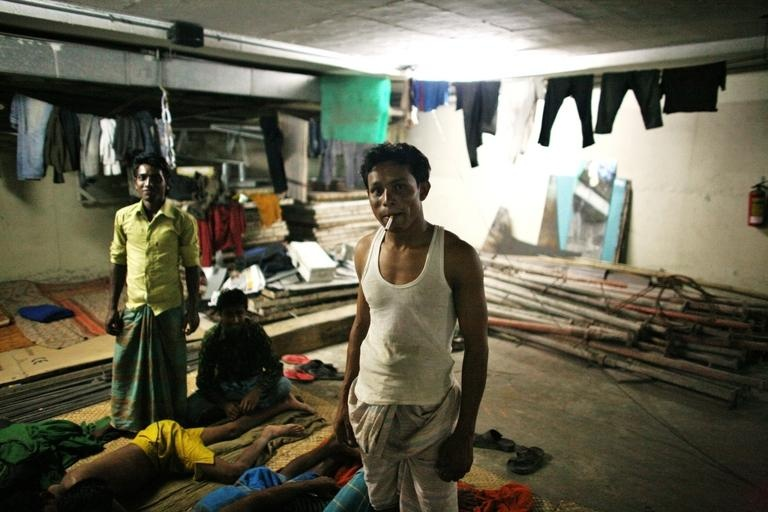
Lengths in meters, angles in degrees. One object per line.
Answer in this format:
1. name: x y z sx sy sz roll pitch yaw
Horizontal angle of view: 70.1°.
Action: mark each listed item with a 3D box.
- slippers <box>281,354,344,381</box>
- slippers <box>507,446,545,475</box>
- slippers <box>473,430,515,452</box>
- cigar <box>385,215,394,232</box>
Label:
1. slippers: -1.197 1.706 8.372 0.466 0.142 0.663 -3 4 -40
2. slippers: 1.705 2.398 6.455 0.571 0.109 0.317 -10 15 -41
3. slippers: 1.360 2.218 6.770 0.428 0.156 0.277 -2 1 31
4. cigar: 0.048 -0.273 4.484 0.041 0.145 0.044 -2 17 -39
